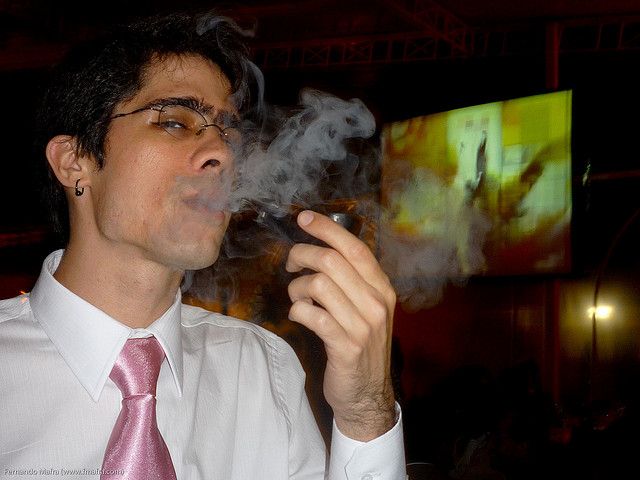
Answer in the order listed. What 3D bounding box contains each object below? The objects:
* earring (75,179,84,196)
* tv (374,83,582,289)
[{"bbox_3d":[-1.183,-0.258,2.858,0.044,0.077,0.015,0,7,18],"label":"earring"},{"bbox_3d":[1.704,-0.539,6.797,2.419,2.047,0.167,-1,-8,44],"label":"tv"}]
